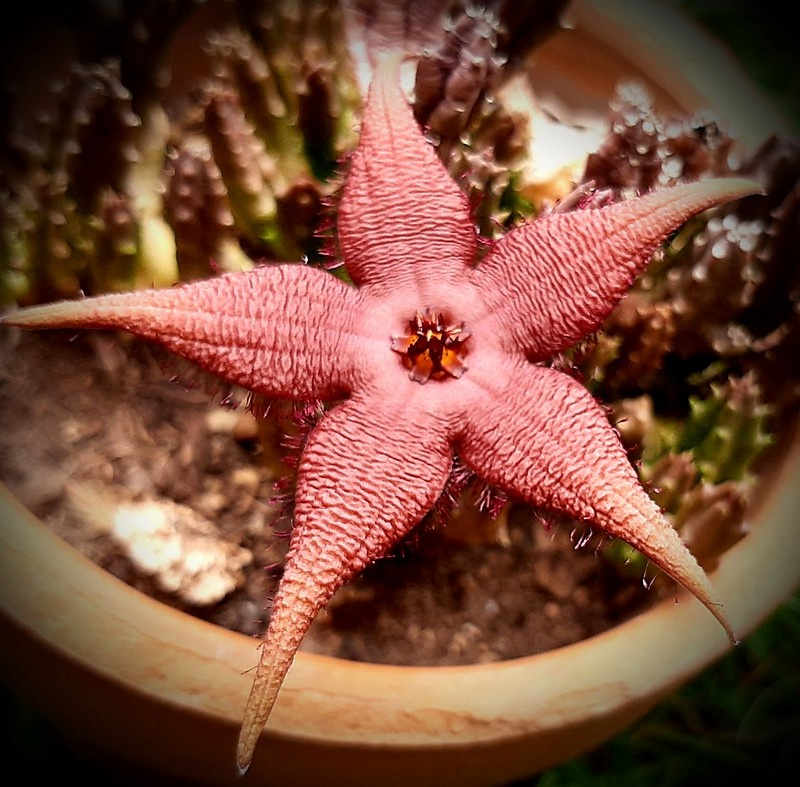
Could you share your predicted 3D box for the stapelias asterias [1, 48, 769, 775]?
[{"bbox_3d":[0.039,-0.003,0.754,0.570,0.155,0.544,-35,74,-16],"label":"stapelias asterias"}]
